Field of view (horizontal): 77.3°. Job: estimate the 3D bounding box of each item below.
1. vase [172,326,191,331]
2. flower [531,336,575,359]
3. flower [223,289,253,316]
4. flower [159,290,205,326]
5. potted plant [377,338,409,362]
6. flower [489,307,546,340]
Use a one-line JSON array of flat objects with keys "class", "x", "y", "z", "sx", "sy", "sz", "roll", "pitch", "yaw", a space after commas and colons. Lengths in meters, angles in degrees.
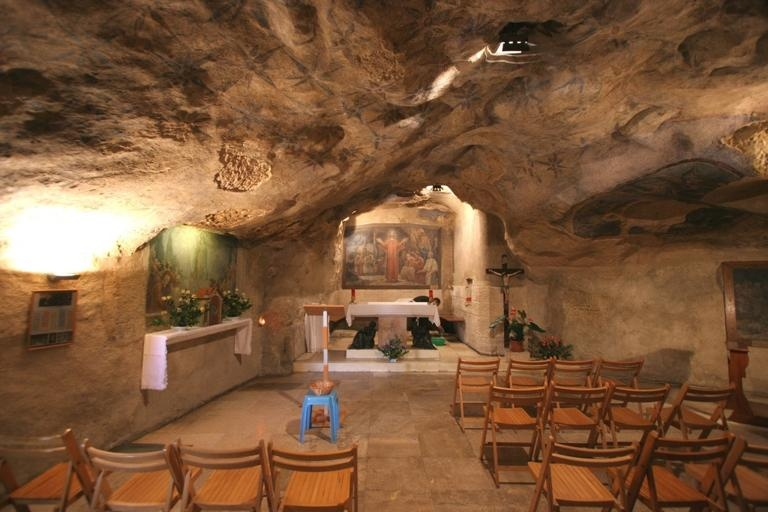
[{"class": "vase", "x": -3.152, "y": 1.108, "z": 7.482, "sx": 0.253, "sy": 0.061, "sz": 0.184, "roll": 1, "pitch": -4, "yaw": -19}, {"class": "flower", "x": 3.857, "y": 2.046, "z": 10.809, "sx": 0.902, "sy": 0.504, "sz": 0.814, "roll": 0, "pitch": -5, "yaw": -2}, {"class": "flower", "x": -2.749, "y": 0.862, "z": 8.819, "sx": 0.237, "sy": 0.468, "sz": 0.507, "roll": -2, "pitch": -3, "yaw": 21}, {"class": "flower", "x": -3.185, "y": 0.809, "z": 7.645, "sx": 0.559, "sy": 0.577, "sz": 0.373, "roll": 0, "pitch": -3, "yaw": -13}, {"class": "potted plant", "x": 0.205, "y": 1.996, "z": 10.352, "sx": 0.526, "sy": 0.329, "sz": 0.539, "roll": -1, "pitch": -4, "yaw": 45}, {"class": "flower", "x": 3.220, "y": 1.646, "z": 11.538, "sx": 1.017, "sy": 0.479, "sz": 0.954, "roll": 1, "pitch": 3, "yaw": -7}]
